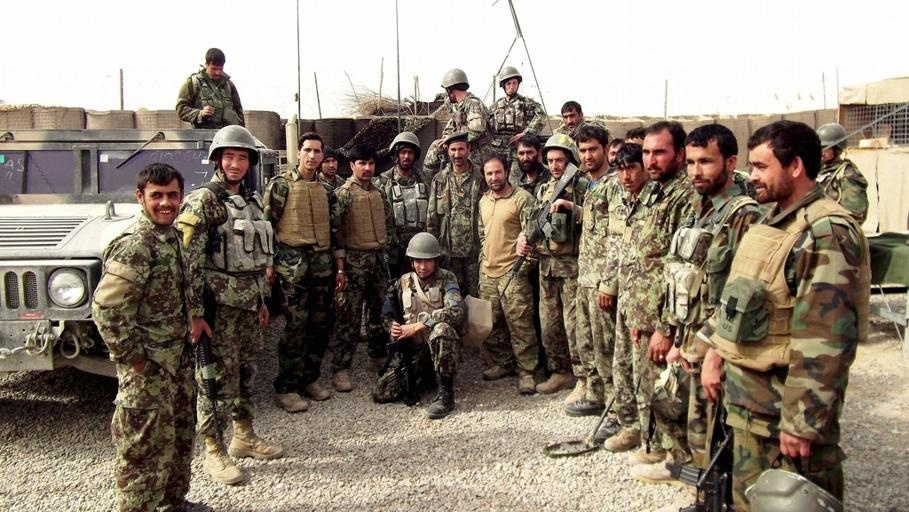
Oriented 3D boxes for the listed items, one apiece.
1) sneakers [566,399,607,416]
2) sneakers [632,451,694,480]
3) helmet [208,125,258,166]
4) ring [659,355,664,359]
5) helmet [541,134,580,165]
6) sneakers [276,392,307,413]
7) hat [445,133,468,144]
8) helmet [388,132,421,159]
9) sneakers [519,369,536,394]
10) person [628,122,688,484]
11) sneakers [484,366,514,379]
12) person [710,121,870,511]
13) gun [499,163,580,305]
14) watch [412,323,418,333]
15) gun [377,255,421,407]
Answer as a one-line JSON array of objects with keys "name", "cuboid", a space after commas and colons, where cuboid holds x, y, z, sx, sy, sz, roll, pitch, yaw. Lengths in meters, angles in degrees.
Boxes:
[{"name": "sneakers", "cuboid": [1.251, 1.437, 7.462, 0.414, 0.162, 0.148, 5, 10, -1]}, {"name": "sneakers", "cuboid": [1.697, 1.750, 6.349, 0.529, 0.199, 0.190, -1, 25, 12]}, {"name": "helmet", "cuboid": [-1.937, -0.967, 6.756, 0.358, 0.267, 0.380, 3, 3, -16]}, {"name": "ring", "cuboid": [1.678, 0.814, 6.231, 0.027, 0.031, 0.011, 10, 6, 0]}, {"name": "helmet", "cuboid": [1.081, -1.081, 7.767, 0.265, 0.254, 0.355, 5, 13, 19]}, {"name": "sneakers", "cuboid": [-1.604, 1.434, 7.621, 0.287, 0.111, 0.161, 7, 4, 36]}, {"name": "hat", "cuboid": [0.030, -1.311, 8.563, 0.264, 0.103, 0.257, -3, 6, -1]}, {"name": "helmet", "cuboid": [-0.539, -1.249, 8.592, 0.307, 0.251, 0.332, 3, 13, -6]}, {"name": "sneakers", "cuboid": [0.752, 1.278, 7.874, 0.221, 0.230, 0.567, 0, -4, 5]}, {"name": "person", "cuboid": [1.698, 0.394, 6.312, 0.550, 2.971, 0.872, -2, 7, 10]}, {"name": "sneakers", "cuboid": [0.464, 1.235, 8.246, 0.261, 0.104, 0.130, 2, 2, -16]}, {"name": "person", "cuboid": [2.303, 0.436, 5.346, 1.022, 2.721, 0.479, 0, 7, 25]}, {"name": "gun", "cuboid": [0.864, -0.175, 7.737, 0.132, 1.519, 0.408, 19, 10, -40]}, {"name": "watch", "cuboid": [-0.372, 0.704, 7.592, 0.064, 0.097, 0.061, -3, 7, 1]}, {"name": "gun", "cuboid": [-0.556, 0.788, 7.814, 0.160, 1.504, 0.664, 0, 6, 43]}]
